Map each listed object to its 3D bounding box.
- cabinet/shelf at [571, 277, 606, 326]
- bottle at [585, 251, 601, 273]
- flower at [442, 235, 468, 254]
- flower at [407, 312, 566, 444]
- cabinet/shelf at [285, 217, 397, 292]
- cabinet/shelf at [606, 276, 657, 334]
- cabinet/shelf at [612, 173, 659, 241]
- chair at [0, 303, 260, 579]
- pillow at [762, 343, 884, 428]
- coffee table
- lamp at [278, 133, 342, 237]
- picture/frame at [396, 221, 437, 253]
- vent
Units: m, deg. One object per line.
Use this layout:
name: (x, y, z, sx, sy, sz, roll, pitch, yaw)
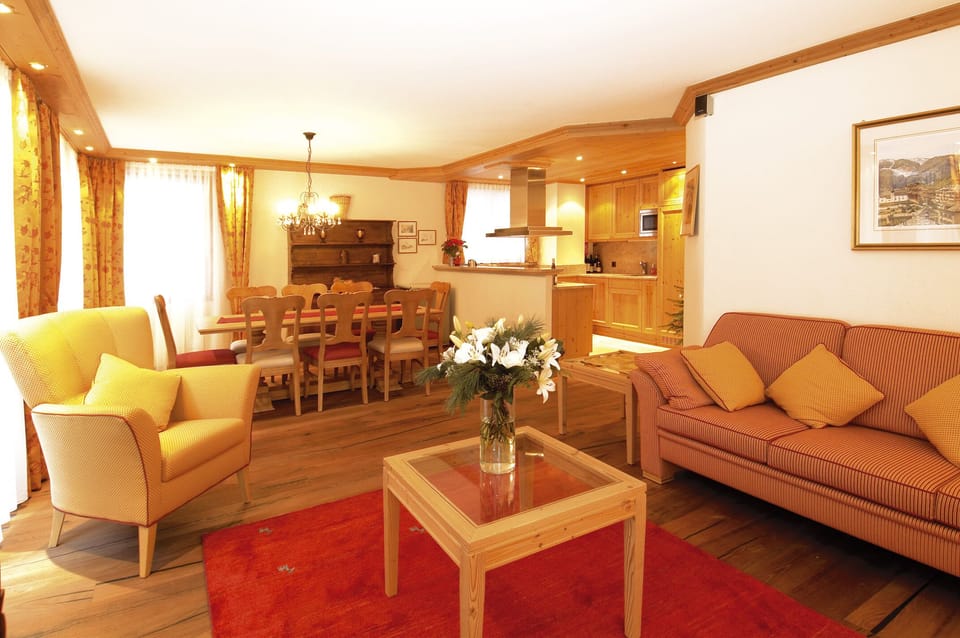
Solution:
cabinet/shelf: (1.574, -0.241, 8.923, 0.443, 0.698, 0.789, -4, 7, -35)
bottle: (1.945, -0.999, 10.685, 0.271, 0.352, 0.240, 3, 9, 21)
flower: (-0.402, -1.110, 9.347, 0.341, 0.196, 0.325, 0, -2, 6)
flower: (0.076, 0.382, 3.668, 0.931, 0.741, 0.966, -2, -1, -41)
cabinet/shelf: (-1.994, -0.909, 8.532, 1.408, 1.207, 0.382, -1, 1, -28)
cabinet/shelf: (2.268, -0.208, 10.244, 0.757, 0.966, 1.123, -5, 0, 13)
cabinet/shelf: (2.489, -1.697, 9.844, 1.051, 0.946, 0.376, 2, 7, 35)
chair: (-2.396, 0.680, 4.657, 1.747, 1.777, 1.652, 2, 5, 13)
pillow: (2.413, 0.468, 4.300, 0.729, 0.161, 0.737, -30, 23, -23)
coffee table: (0.098, 0.922, 3.488, 1.157, 0.799, 1.155, -4, 11, -31)
lamp: (-2.145, -1.729, 7.795, 0.704, 1.201, 0.720, 19, 24, 39)
picture/frame: (-1.024, -1.268, 9.490, 0.574, 0.371, 0.040, -2, 3, -38)
vent: (0.650, -1.545, 8.608, 1.165, 0.980, 0.965, 5, 7, 34)
